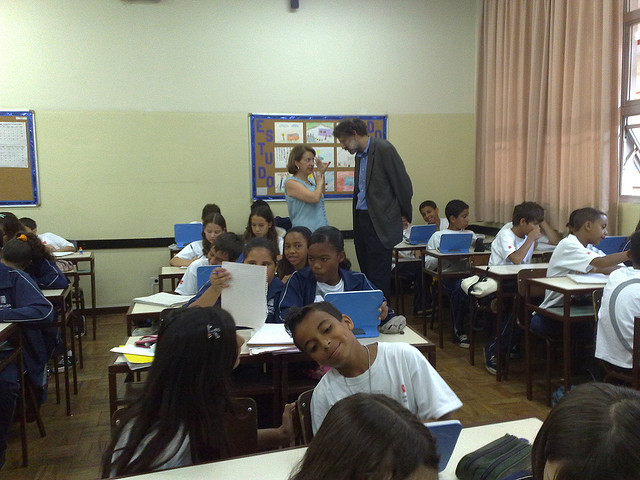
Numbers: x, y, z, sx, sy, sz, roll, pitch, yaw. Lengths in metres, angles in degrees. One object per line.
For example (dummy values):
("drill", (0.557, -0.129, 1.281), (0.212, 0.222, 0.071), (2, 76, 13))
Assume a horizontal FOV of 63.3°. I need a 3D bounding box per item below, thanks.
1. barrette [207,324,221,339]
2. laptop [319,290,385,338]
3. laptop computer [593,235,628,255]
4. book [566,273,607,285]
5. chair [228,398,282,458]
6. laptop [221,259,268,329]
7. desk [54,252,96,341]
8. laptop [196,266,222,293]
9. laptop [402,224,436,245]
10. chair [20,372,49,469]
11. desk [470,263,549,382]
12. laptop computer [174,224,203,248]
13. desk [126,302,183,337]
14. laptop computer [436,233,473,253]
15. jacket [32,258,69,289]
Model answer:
("barrette", (-0.344, 0.297, 1.676), (0.035, 0.038, 0.019), (-33, 6, -19))
("laptop", (0.153, 0.338, 2.366), (0.251, 0.195, 0.194), (-4, 1, 9))
("laptop computer", (2.091, 0.032, 3.700), (0.539, 0.124, 0.087), (-10, 12, -41))
("book", (1.661, 0.229, 3.217), (0.214, 0.028, 0.400), (2, 10, 24))
("chair", (-0.275, 0.659, 1.866), (0.122, 0.206, 0.129), (-1, -33, -9))
("laptop", (-0.337, 0.245, 2.366), (0.204, 0.308, 0.095), (6, 20, 11))
("desk", (-2.282, 0.465, 4.747), (0.266, 0.612, 0.431), (2, -3, 8))
("laptop", (-0.567, 0.201, 2.649), (0.142, 0.184, 0.018), (1, 9, -3))
("laptop", (0.973, -0.055, 5.104), (0.265, 0.218, 0.228), (-4, 21, -8))
("chair", (-1.663, 0.916, 2.941), (0.144, 0.450, 0.150), (23, 22, 23))
("desk", (1.359, 0.540, 3.815), (0.475, 0.897, 0.494), (2, 10, -3))
("laptop computer", (-1.271, -0.044, 4.963), (0.303, 0.235, 0.077), (-4, 2, -8))
("desk", (-0.928, 0.445, 3.051), (0.437, 0.242, 0.308), (5, -10, -34))
("laptop computer", (1.143, 0.023, 4.342), (0.198, 0.140, 0.176), (0, 7, -10))
("jacket", (-1.797, 0.216, 3.517), (0.097, 0.227, 0.161), (18, 4, -34))
